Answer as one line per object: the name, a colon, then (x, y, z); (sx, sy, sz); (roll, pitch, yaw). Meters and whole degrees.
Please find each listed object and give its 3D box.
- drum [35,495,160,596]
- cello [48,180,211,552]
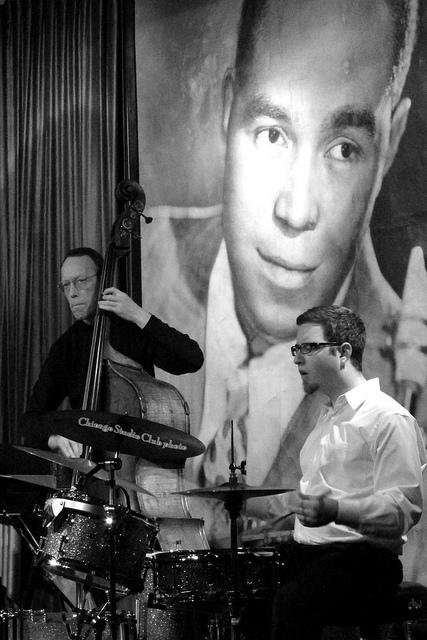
drum: (-0.334, 0.640, 2.954); (0.279, 0.195, 0.300); (6, -3, 0)
cello: (-0.249, 0.066, 3.259); (0.453, 0.242, 1.236); (1, -34, -4)
